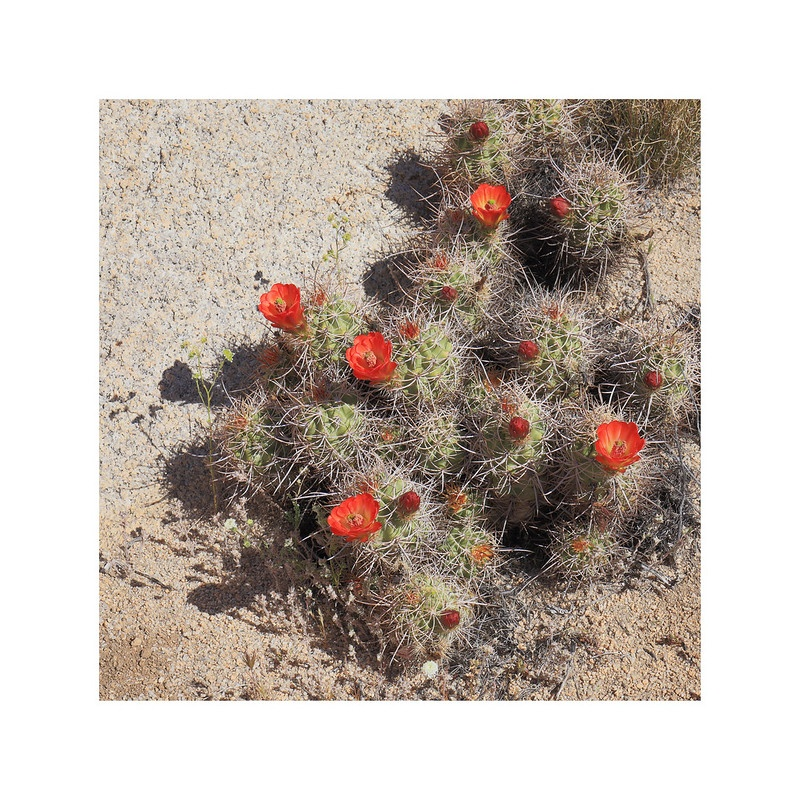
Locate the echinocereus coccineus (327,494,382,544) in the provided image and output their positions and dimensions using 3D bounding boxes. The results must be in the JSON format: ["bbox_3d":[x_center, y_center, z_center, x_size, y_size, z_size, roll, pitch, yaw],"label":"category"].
[{"bbox_3d":[-0.167,0.434,3.161,0.178,0.118,0.153,-18,84,1],"label":"echinocereus coccineus"}]

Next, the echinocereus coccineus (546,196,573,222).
[{"bbox_3d":[0.696,-0.825,3.825,0.068,0.096,0.080,2,76,39],"label":"echinocereus coccineus"}]

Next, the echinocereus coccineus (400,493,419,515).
[{"bbox_3d":[0.028,0.384,3.226,0.060,0.076,0.090,10,79,20],"label":"echinocereus coccineus"}]

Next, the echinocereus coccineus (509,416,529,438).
[{"bbox_3d":[0.445,0.109,3.275,0.088,0.127,0.086,-4,84,3],"label":"echinocereus coccineus"}]

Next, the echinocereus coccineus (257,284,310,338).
[{"bbox_3d":[-0.456,-0.362,3.476,0.173,0.151,0.179,-41,51,9],"label":"echinocereus coccineus"}]

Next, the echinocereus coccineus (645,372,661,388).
[{"bbox_3d":[1.016,-0.069,3.513,0.047,0.035,0.070,1,82,6],"label":"echinocereus coccineus"}]

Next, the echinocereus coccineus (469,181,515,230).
[{"bbox_3d":[0.381,-0.836,3.758,0.161,0.185,0.162,-12,45,6],"label":"echinocereus coccineus"}]

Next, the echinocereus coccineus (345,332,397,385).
[{"bbox_3d":[-0.117,-0.162,3.293,0.173,0.094,0.185,-17,84,1],"label":"echinocereus coccineus"}]

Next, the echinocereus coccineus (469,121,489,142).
[{"bbox_3d":[0.341,-1.180,3.849,0.071,0.102,0.086,-14,83,-5],"label":"echinocereus coccineus"}]
